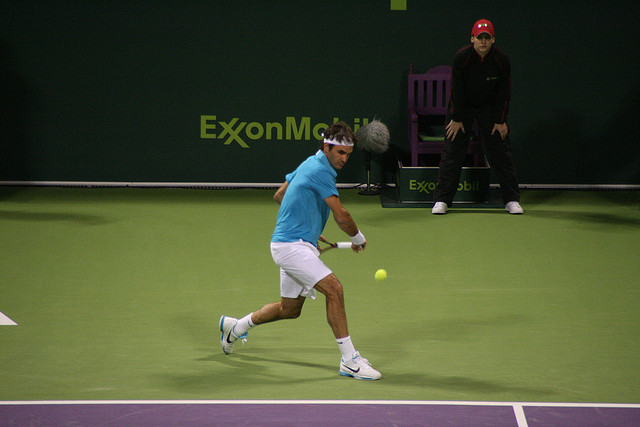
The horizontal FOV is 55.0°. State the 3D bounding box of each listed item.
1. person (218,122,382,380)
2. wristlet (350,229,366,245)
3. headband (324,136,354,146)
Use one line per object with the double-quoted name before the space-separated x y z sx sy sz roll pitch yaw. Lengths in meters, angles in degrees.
"person" -0.100 0.268 5.147 1.331 2.000 0.635 3 13 13
"wristlet" 0.322 0.209 5.243 0.102 0.107 0.105 -16 44 5
"headband" 0.162 -0.611 5.155 0.249 0.080 0.082 0 13 -2
